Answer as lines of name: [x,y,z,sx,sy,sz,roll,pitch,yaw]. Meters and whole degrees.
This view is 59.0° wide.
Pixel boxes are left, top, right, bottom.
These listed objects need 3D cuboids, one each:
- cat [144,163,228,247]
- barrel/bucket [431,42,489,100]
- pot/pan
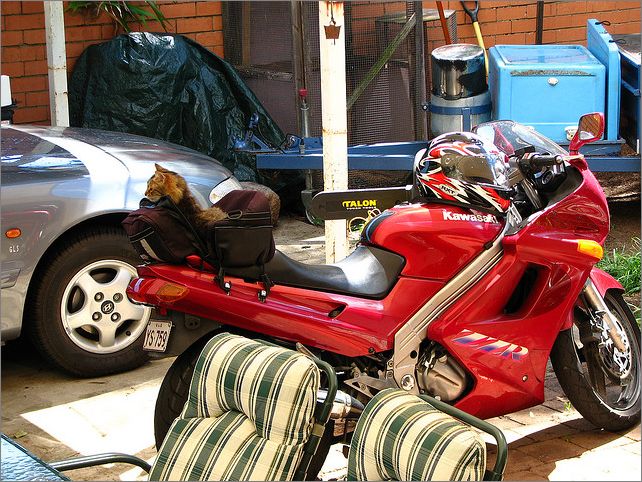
cat: [-0.658,-0.183,2.707,0.398,0.344,0.221,-2,13,-6]
barrel/bucket: [1.568,-1.900,6.387,0.622,0.626,0.355,1,13,10]
pot/pan: [1.628,-1.923,6.483,0.687,0.413,0.693,9,21,39]
